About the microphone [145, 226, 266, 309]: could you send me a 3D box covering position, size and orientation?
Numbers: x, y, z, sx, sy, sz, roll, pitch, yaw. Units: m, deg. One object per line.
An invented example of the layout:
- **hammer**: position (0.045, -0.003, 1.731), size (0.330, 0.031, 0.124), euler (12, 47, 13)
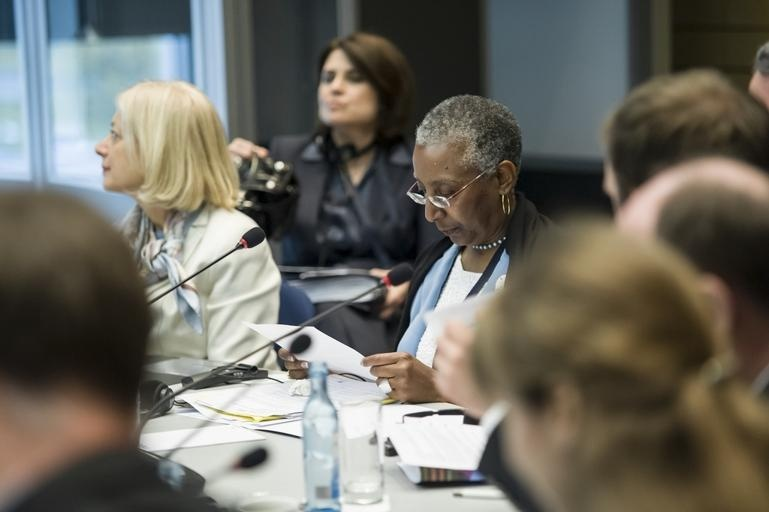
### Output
- **microphone**: position (-0.552, 0.039, 2.553), size (0.435, 0.051, 0.050), euler (-29, 42, -5)

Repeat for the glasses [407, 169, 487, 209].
- **glasses**: position (0.169, -0.172, 2.333), size (0.140, 0.037, 0.131), euler (-33, 16, -16)

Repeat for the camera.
- **camera**: position (-0.489, -0.264, 3.439), size (0.232, 0.313, 0.327), euler (1, 1, 2)

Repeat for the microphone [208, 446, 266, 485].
- **microphone**: position (-0.287, 0.430, 1.709), size (0.030, 0.005, 0.114), euler (25, 26, 24)
